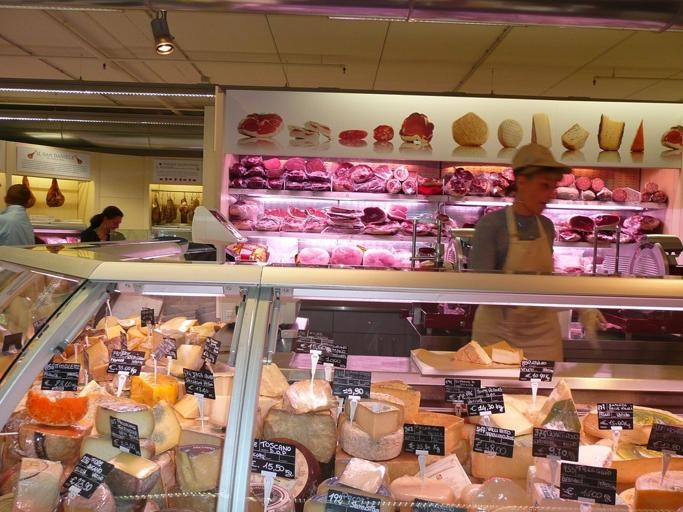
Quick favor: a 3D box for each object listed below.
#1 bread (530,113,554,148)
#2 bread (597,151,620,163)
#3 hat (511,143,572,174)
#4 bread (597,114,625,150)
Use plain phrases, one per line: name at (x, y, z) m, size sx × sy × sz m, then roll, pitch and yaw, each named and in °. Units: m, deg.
bread at (1.865, -1.152, 4.637) m, size 0.205 × 0.305 × 0.047 m, roll 1°, pitch 6°, yaw -11°
bread at (2.509, -0.915, 4.731) m, size 0.168 × 0.121 × 0.036 m, roll 11°, pitch -1°, yaw 1°
hat at (1.041, -0.496, 2.595) m, size 0.257 × 0.105 × 0.171 m, roll -2°, pitch 1°, yaw 5°
bread at (2.504, -1.138, 4.703) m, size 0.302 × 0.295 × 0.103 m, roll 8°, pitch 5°, yaw -4°
